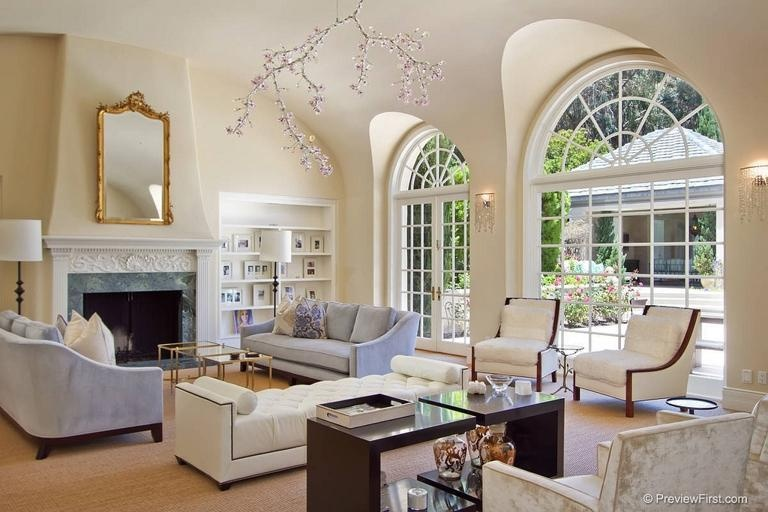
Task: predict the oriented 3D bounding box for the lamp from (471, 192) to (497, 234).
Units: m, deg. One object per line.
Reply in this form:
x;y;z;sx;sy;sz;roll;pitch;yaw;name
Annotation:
1.516;-0.666;8.114;0.374;0.592;0.089;7;16;44;lamp

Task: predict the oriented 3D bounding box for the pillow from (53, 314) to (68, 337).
-3.564;0.772;5.863;0.113;0.199;0.211;-22;-21;-4;pillow

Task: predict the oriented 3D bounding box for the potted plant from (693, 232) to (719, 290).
3.873;0.089;6.439;0.128;0.619;0.301;-10;13;-30;potted plant

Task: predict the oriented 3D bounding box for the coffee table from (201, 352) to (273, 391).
-1.874;1.338;6.684;0.792;0.494;0.739;-2;-2;44;coffee table

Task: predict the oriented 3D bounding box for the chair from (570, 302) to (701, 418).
2.996;1.191;6.476;1.450;1.259;1.014;2;-4;-28;chair

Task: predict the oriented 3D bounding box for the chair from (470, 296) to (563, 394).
1.818;1.096;6.950;1.076;1.192;1.331;-1;-3;28;chair

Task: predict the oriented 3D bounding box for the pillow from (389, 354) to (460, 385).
0.381;1.175;5.667;0.906;0.258;0.263;0;10;42;pillow

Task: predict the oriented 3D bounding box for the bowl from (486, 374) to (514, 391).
0.946;1.038;4.357;0.167;0.075;0.167;0;-2;0;bowl

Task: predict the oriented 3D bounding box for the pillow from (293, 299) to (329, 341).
-1.072;0.917;7.627;0.515;0.513;0.155;3;-11;0;pillow

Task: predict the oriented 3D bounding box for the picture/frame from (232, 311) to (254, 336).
-2.425;1.169;9.067;0.420;0.574;0.059;3;-6;-35;picture/frame

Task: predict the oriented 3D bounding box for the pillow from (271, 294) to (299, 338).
-1.497;0.926;7.994;0.258;0.457;0.485;38;-23;-22;pillow
